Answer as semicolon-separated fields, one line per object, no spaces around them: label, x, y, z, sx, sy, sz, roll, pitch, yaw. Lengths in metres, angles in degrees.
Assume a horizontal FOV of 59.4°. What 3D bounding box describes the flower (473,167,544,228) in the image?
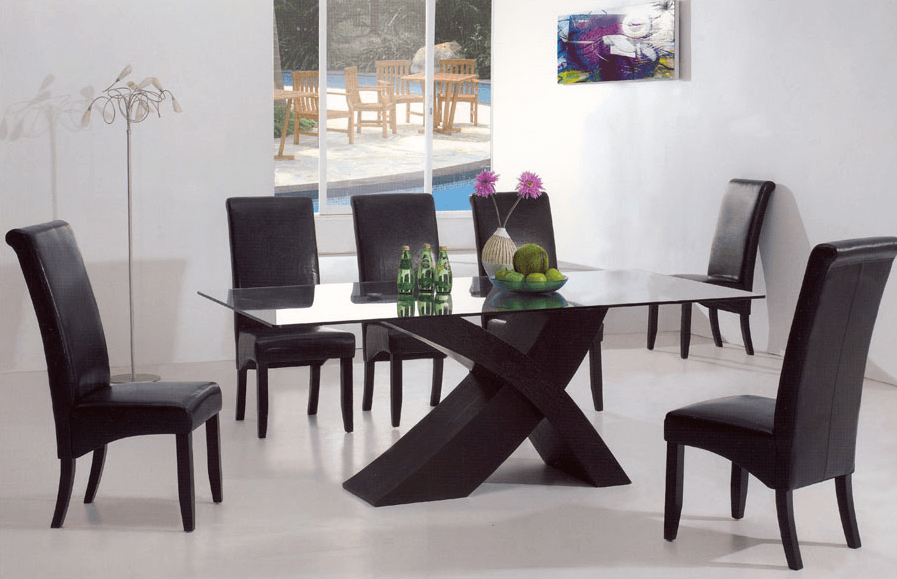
flower;0.390;-0.650;5.022;0.349;0.474;0.278;4;0;10

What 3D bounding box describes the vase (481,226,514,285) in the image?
vase;0.290;-0.202;4.486;0.257;0.342;0.258;3;4;10

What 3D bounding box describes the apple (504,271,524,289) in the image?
apple;0.355;-0.051;4.309;0.085;0.109;0.088;5;12;18

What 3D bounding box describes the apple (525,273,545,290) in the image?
apple;0.459;-0.044;4.246;0.093;0.091;0.094;4;-7;-40

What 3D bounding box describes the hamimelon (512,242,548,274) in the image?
hamimelon;0.450;-0.173;4.371;0.157;0.192;0.168;-2;3;-5

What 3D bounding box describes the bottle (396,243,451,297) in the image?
bottle;-0.151;-0.102;4.453;0.351;0.358;0.129;1;7;-14

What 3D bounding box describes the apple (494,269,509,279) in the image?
apple;0.284;-0.086;4.287;0.052;0.066;0.052;2;3;-8

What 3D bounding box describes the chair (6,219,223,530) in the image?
chair;-1.627;0.420;3.875;0.783;1.510;0.406;-1;11;9

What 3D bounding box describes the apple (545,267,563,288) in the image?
apple;0.568;-0.067;4.296;0.093;0.099;0.093;8;8;32
